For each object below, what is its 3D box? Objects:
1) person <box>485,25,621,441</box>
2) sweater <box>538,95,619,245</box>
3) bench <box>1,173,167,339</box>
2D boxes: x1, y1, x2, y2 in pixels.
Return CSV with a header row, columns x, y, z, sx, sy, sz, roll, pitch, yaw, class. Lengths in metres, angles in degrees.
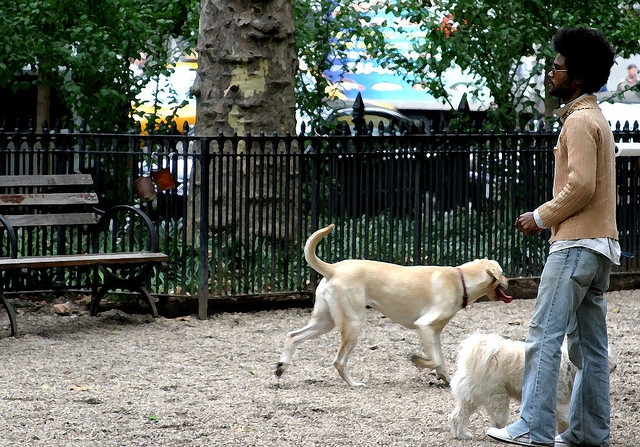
x,y,z,sx,sy,sz,roll,pitch,yaw,class
2.260,0.144,9.874,1.000,3.717,1.226,5,15,18,person
2.392,-0.471,9.943,0.728,1.348,0.518,3,14,9,sweater
-3.062,0.273,13.906,1.981,1.777,2.513,-2,14,-12,bench
